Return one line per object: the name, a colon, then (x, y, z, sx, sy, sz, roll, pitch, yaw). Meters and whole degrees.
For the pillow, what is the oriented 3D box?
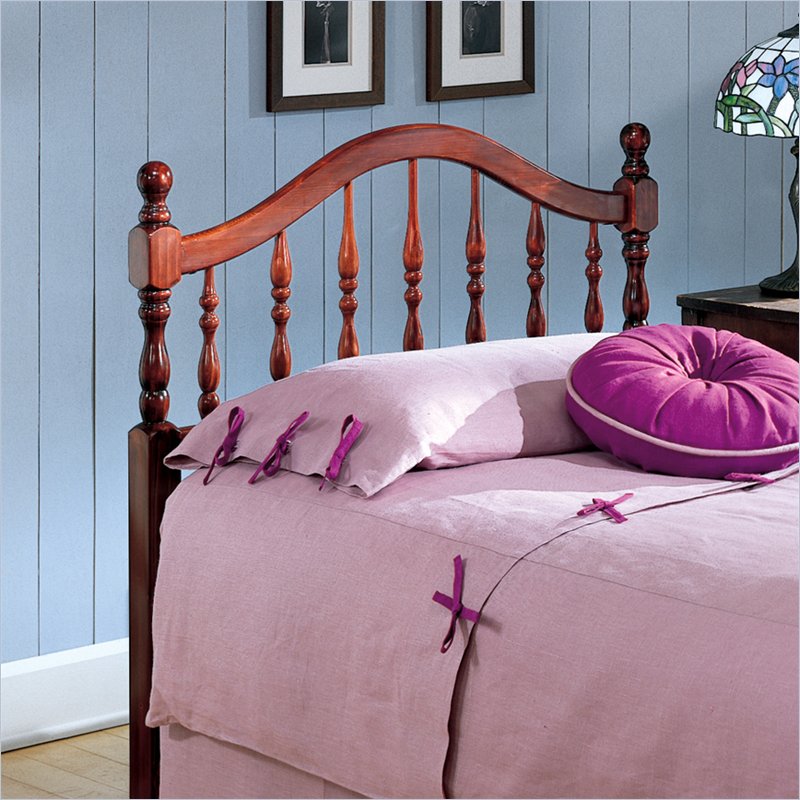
pillow: (0.132, 0.013, 1.525, 0.893, 0.162, 0.408, -4, 14, -6)
